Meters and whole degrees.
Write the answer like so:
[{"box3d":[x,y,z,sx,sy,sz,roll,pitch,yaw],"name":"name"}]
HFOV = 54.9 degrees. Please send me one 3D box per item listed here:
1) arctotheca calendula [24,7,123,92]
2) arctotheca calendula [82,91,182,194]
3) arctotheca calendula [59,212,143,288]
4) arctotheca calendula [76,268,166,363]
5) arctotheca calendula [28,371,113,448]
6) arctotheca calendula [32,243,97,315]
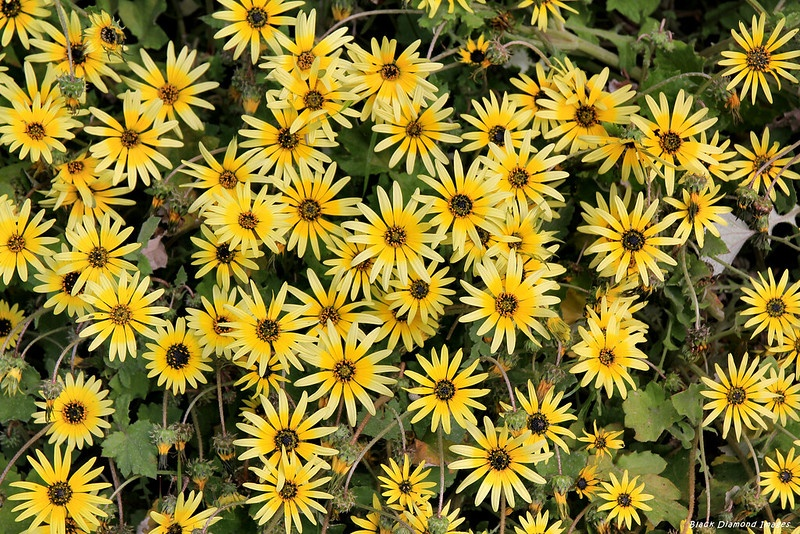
[{"box3d":[-0.937,-0.632,2.226,0.196,0.224,0.051,-12,83,-21],"name":"arctotheca calendula"},{"box3d":[-0.768,-0.392,2.195,0.201,0.229,0.072,-12,74,-10],"name":"arctotheca calendula"},{"box3d":[-0.836,-0.038,2.123,0.224,0.064,0.260,12,37,-15],"name":"arctotheca calendula"},{"box3d":[-0.743,0.125,2.092,0.256,0.226,0.063,43,117,21],"name":"arctotheca calendula"},{"box3d":[-0.900,0.391,2.135,0.183,0.193,0.059,7,96,30],"name":"arctotheca calendula"},{"box3d":[-0.965,0.045,2.214,0.167,0.052,0.209,-23,98,-3],"name":"arctotheca calendula"}]
